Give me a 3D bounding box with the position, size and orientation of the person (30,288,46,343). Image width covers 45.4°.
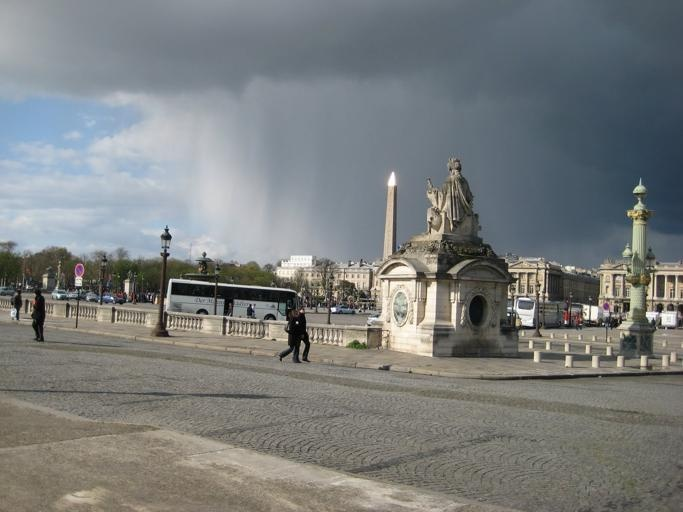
[{"bbox_3d":[-9.879,1.899,26.537,0.452,1.574,0.558,6,-10,-34],"label":"person"}]

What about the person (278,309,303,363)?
[{"bbox_3d":[-1.546,2.434,25.189,0.614,1.620,2.194,3,-5,-3],"label":"person"}]

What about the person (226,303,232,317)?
[{"bbox_3d":[-7.473,3.543,54.805,0.457,0.868,1.919,3,-5,-9],"label":"person"}]

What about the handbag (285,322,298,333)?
[{"bbox_3d":[-1.470,2.150,24.296,0.269,0.289,0.370,4,-6,-21],"label":"handbag"}]
